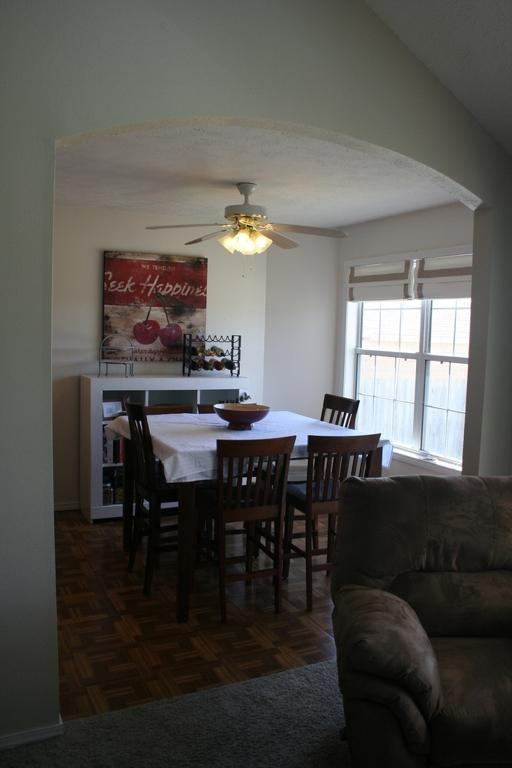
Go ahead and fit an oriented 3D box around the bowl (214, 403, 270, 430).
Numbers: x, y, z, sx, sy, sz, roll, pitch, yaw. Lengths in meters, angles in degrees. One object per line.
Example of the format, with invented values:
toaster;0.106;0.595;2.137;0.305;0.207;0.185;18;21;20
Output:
bowl;-0.089;0.191;3.504;0.291;0.124;0.392;1;3;-4

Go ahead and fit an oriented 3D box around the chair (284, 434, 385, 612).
chair;0.393;0.666;3.259;0.487;0.905;0.501;-1;5;-29

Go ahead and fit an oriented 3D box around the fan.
fan;0.007;-0.893;3.661;0.877;0.339;0.871;0;-3;3

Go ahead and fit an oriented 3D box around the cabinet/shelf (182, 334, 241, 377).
cabinet/shelf;-0.367;-0.273;4.933;0.489;0.360;0.242;2;9;-26

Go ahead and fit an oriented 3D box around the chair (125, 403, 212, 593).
chair;-0.542;0.576;3.280;0.443;0.920;0.439;-1;8;-26
